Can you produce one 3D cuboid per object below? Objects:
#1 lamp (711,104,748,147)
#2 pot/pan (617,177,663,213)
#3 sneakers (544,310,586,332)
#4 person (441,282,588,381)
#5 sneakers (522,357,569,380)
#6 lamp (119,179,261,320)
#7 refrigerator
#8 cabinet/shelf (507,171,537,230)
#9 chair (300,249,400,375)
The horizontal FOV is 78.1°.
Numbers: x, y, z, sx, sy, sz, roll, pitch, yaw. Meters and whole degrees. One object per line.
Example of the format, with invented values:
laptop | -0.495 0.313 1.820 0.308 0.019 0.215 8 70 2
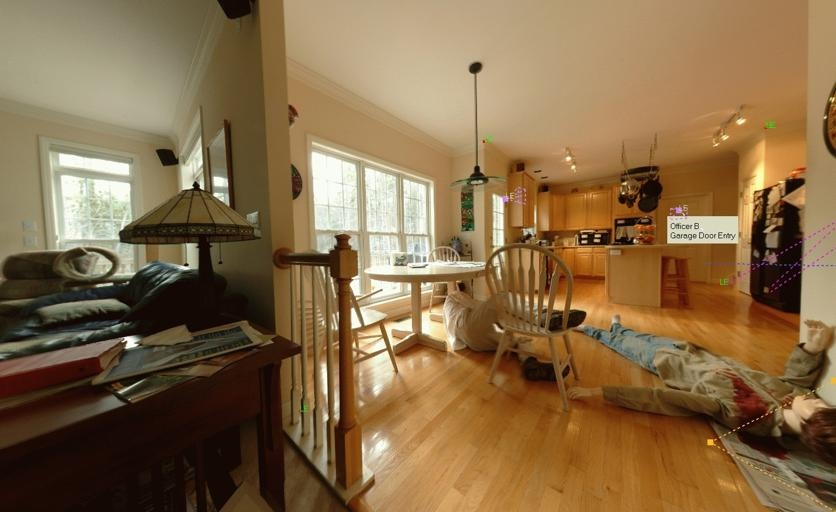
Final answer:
lamp | 4.590 -1.941 7.551 0.179 0.234 0.661 4 -21 12
pot/pan | 3.540 -0.858 8.039 0.692 0.688 0.213 21 18 38
sneakers | 1.646 0.691 5.660 0.384 0.125 0.228 -3 10 -23
person | 1.338 0.753 6.019 0.985 1.400 1.076 1 2 33
sneakers | 1.407 1.279 5.792 0.392 0.142 0.243 2 6 29
lamp | -2.102 -0.091 5.497 1.403 1.515 1.353 4 13 17
refrigerator | 5.066 -0.150 7.235 0.354 1.834 0.700 -2 3 -13
cabinet/shelf | 1.858 -1.013 9.234 0.342 0.988 1.083 1 5 23
chair | -0.665 0.728 5.783 0.772 1.268 1.417 -1 3 16
